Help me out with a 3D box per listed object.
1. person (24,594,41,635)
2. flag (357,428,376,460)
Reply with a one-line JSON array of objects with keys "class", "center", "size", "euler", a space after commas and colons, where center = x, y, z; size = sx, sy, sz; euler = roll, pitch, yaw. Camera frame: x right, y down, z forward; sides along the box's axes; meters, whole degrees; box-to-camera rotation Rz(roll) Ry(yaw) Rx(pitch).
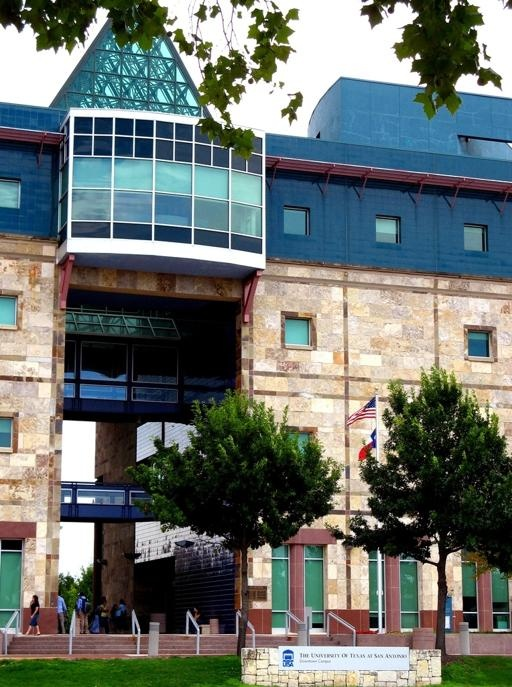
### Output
[{"class": "person", "center": [-6.758, 8.155, 43.668], "size": [0.421, 1.216, 1.041], "euler": [2, -13, -9]}, {"class": "flag", "center": [3.508, 3.257, 46.631], "size": [0.162, 0.962, 1.107], "euler": [26, -63, -7]}]
